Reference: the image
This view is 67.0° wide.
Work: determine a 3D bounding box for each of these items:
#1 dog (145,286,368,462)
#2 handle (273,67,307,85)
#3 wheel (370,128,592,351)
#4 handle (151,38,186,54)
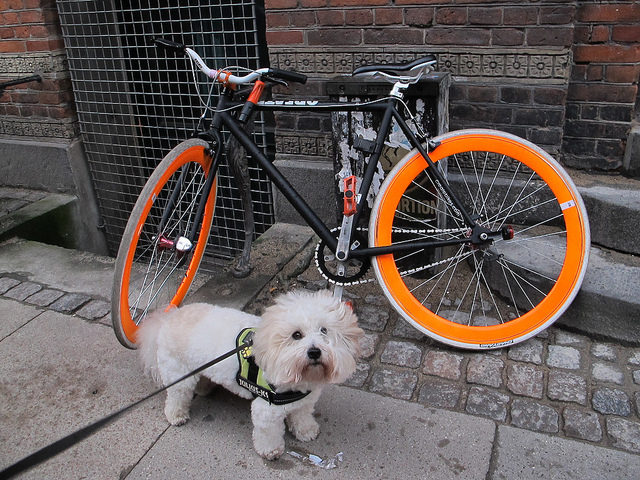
[{"bbox_3d":[-0.401,0.633,2.673,1.249,0.976,0.560,8,21,25],"label":"dog"},{"bbox_3d":[-0.210,-1.083,3.196,0.212,0.094,0.137,0,28,-6],"label":"handle"},{"bbox_3d":[1.113,-0.139,3.465,1.376,1.323,1.333,2,27,-1],"label":"wheel"},{"bbox_3d":[-1.057,-1.345,3.330,0.225,0.058,0.135,20,15,22],"label":"handle"}]
